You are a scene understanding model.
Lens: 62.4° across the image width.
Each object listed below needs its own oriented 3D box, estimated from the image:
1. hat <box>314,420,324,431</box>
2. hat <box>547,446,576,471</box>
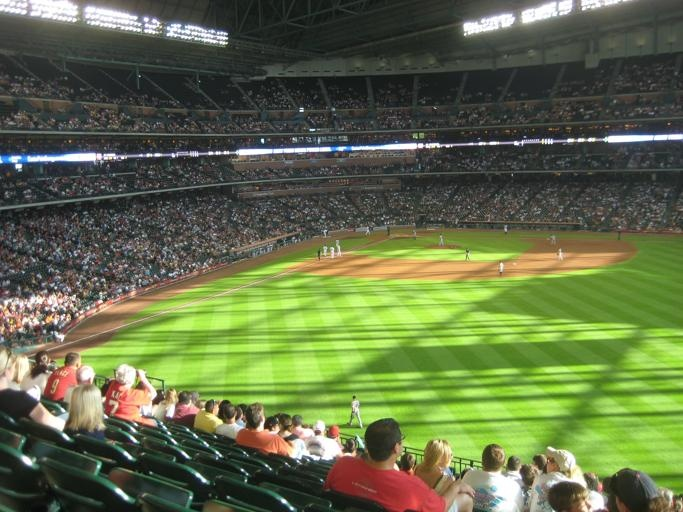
[{"bbox_3d":[-0.535,4.136,13.725,0.257,0.193,0.376,2,2,-2],"label":"hat"},{"bbox_3d":[3.709,3.381,9.460,0.366,0.328,0.555,-2,10,3],"label":"hat"}]
